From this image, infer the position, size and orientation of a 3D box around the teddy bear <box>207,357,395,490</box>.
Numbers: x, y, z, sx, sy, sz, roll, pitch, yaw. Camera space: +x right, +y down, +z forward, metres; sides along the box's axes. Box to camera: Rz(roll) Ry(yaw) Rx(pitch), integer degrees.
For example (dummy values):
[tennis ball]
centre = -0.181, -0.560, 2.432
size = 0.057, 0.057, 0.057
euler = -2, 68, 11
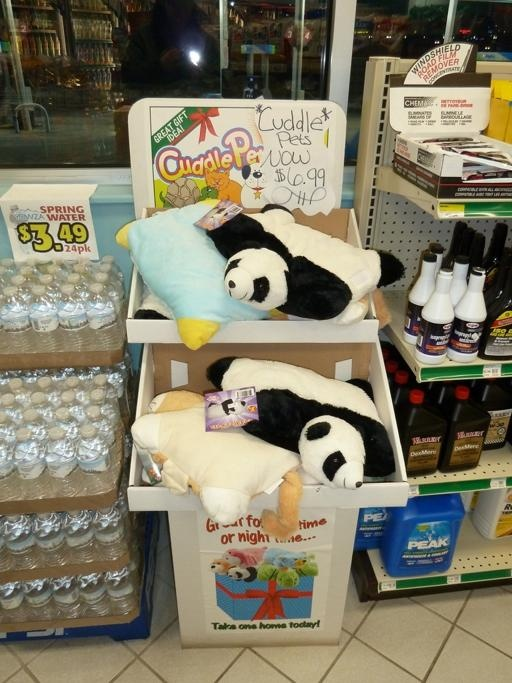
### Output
[teddy bear]
centre = 0.111, 0.199, 1.421
size = 0.479, 0.239, 0.293
euler = -2, 30, -5
